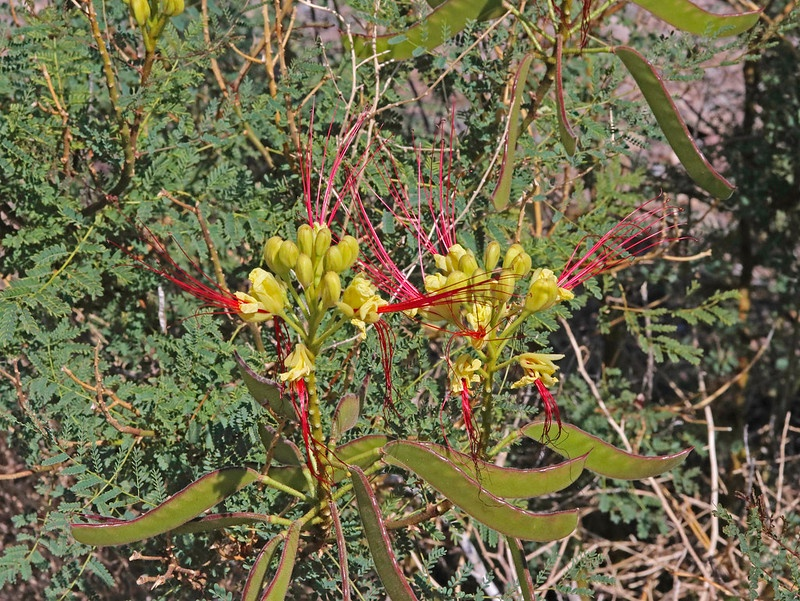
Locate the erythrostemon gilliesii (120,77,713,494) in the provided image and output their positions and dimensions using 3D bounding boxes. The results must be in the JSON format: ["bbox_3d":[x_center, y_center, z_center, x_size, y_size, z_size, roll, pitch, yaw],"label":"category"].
[{"bbox_3d":[0.064,0.078,2.680,1.150,0.920,1.304,-33,51,-19],"label":"erythrostemon gilliesii"}]
